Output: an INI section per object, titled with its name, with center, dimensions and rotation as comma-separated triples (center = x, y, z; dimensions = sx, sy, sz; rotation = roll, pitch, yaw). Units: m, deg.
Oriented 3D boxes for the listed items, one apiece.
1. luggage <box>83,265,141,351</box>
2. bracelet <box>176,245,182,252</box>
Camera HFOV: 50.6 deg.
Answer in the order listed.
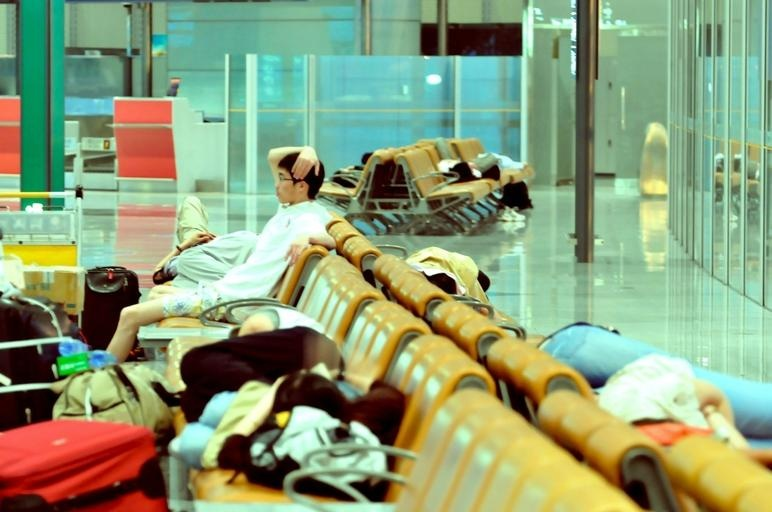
[luggage]
center = -1.990, 0.389, 5.965
dimensions = 0.410, 0.598, 0.301
rotation = 2, 4, 0
[bracelet]
center = -1.640, -0.055, 6.437
dimensions = 0.046, 0.058, 0.034
rotation = -1, -16, -26
